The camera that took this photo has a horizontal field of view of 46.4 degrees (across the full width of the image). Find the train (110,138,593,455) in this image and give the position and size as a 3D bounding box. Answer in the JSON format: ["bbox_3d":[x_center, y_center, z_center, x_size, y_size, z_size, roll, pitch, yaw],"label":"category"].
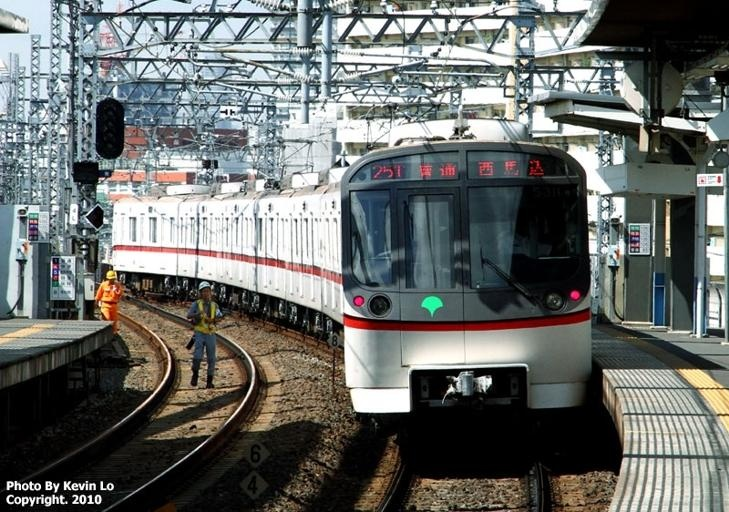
[{"bbox_3d":[-3.501,-0.224,23.735,3.689,5.046,27.699,-2,6,-23],"label":"train"}]
